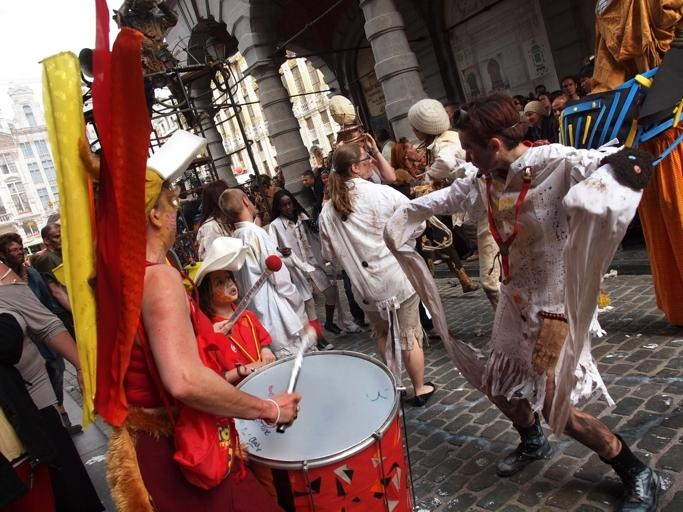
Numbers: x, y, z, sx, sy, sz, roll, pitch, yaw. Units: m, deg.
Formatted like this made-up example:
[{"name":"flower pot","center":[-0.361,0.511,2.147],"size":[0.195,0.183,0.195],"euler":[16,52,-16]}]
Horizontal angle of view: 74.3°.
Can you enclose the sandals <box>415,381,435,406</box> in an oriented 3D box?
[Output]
[{"name":"sandals","center":[0.739,1.180,4.009],"size":[0.093,0.099,0.263],"euler":[2,21,29]}]

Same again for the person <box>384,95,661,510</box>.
[{"name":"person","center":[1.006,0.234,2.522],"size":[0.479,2.217,1.329],"euler":[-18,11,-29]}]

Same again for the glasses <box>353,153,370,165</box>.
[{"name":"glasses","center":[0.186,-0.878,4.102],"size":[0.123,0.037,0.122],"euler":[-8,11,16]}]

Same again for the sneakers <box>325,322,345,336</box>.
[{"name":"sneakers","center":[-0.106,1.006,6.404],"size":[0.122,0.157,0.351],"euler":[-33,28,-33]}]

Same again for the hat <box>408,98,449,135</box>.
[{"name":"hat","center":[0.975,-1.586,4.896],"size":[0.293,0.182,0.380],"euler":[8,56,30]}]

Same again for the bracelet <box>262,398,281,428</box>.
[{"name":"bracelet","center":[-0.277,0.622,1.832],"size":[0.025,0.093,0.094],"euler":[-12,25,-15]}]

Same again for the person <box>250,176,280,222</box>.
[{"name":"person","center":[-1.599,-1.313,9.529],"size":[0.403,1.455,0.592],"euler":[3,57,-10]}]
